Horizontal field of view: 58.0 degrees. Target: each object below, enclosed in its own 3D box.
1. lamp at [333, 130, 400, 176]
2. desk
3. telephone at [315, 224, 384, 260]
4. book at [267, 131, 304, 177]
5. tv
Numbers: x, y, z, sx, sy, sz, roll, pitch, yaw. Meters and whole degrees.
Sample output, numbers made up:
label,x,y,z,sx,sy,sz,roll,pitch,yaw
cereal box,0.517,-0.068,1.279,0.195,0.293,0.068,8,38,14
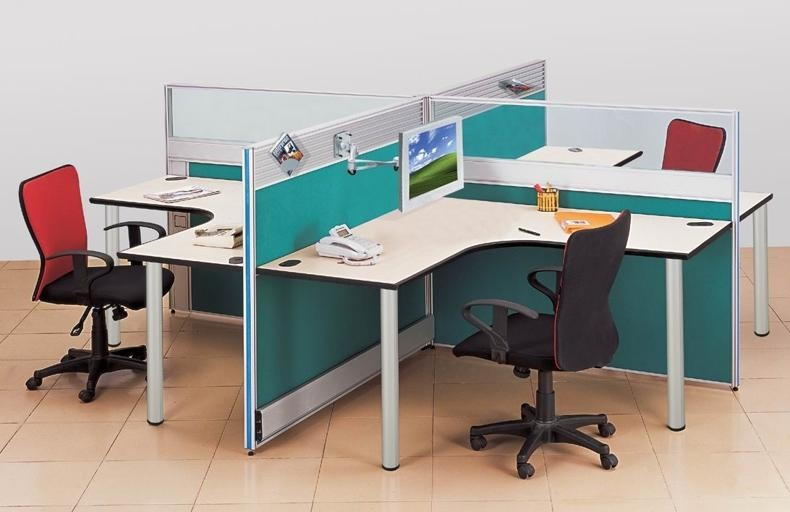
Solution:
label,x,y,z,sx,sy,sz,roll,pitch,yaw
lamp,-0.185,-0.660,4.565,0.364,0.192,0.315,9,17,30
desk,0.234,0.015,4.442,2.632,1.041,2.545,7,16,36
telephone,-0.314,-0.069,4.242,0.306,0.125,0.215,9,11,6
book,-0.631,-0.598,4.193,0.053,0.250,0.258,11,26,26
tv,-0.059,-0.645,4.812,0.797,0.420,0.707,8,22,29
